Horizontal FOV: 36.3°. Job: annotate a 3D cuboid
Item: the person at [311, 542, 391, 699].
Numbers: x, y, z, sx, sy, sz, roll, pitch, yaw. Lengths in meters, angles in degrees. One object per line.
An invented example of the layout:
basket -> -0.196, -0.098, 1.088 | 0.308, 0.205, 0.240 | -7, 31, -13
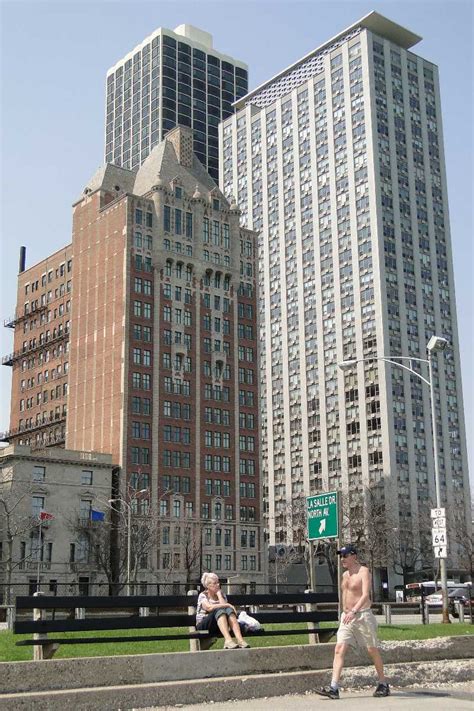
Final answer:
person -> 1.381, 3.193, 8.666 | 0.636, 1.767, 1.027 | -17, -20, 42

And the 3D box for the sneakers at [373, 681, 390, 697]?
sneakers -> 1.715, 3.993, 8.625 | 0.193, 0.178, 0.327 | -6, -15, 8

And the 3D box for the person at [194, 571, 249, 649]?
person -> -0.221, 3.386, 9.590 | 0.522, 0.939, 0.825 | 4, -16, -27

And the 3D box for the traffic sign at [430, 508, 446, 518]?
traffic sign -> 6.637, 5.198, 23.835 | 0.402, 0.336, 0.698 | -6, -15, 9

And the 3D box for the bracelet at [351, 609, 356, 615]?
bracelet -> 1.387, 3.044, 8.565 | 0.047, 0.071, 0.065 | 5, -13, -15

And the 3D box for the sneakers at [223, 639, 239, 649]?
sneakers -> -0.085, 3.683, 9.211 | 0.180, 0.111, 0.192 | -3, -15, -2

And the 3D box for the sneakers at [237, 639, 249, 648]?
sneakers -> 0.074, 3.734, 9.316 | 0.147, 0.098, 0.197 | -4, -15, 3

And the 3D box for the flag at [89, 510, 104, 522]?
flag -> -14.180, 16.159, 72.592 | 0.156, 1.659, 2.259 | -18, -22, 41

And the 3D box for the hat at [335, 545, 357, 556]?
hat -> 1.326, 2.332, 8.703 | 0.251, 0.129, 0.162 | 21, -31, -32
